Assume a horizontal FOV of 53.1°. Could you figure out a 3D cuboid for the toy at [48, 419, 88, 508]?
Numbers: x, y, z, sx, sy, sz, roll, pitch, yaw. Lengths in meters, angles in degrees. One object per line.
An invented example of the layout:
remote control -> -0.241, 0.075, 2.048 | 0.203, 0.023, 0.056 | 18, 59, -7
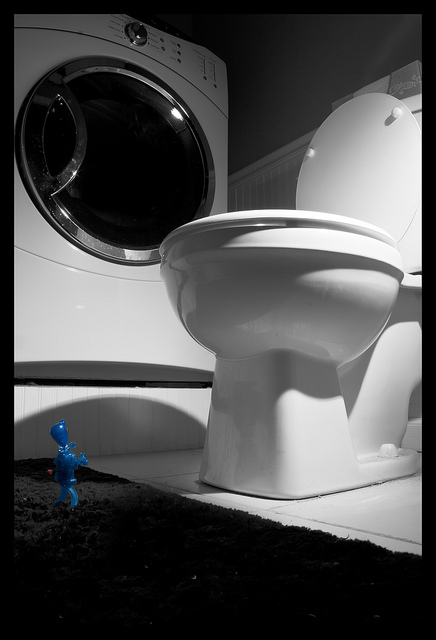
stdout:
toy -> -0.236, 0.227, 0.681 | 0.049, 0.141, 0.069 | 4, 8, 9
